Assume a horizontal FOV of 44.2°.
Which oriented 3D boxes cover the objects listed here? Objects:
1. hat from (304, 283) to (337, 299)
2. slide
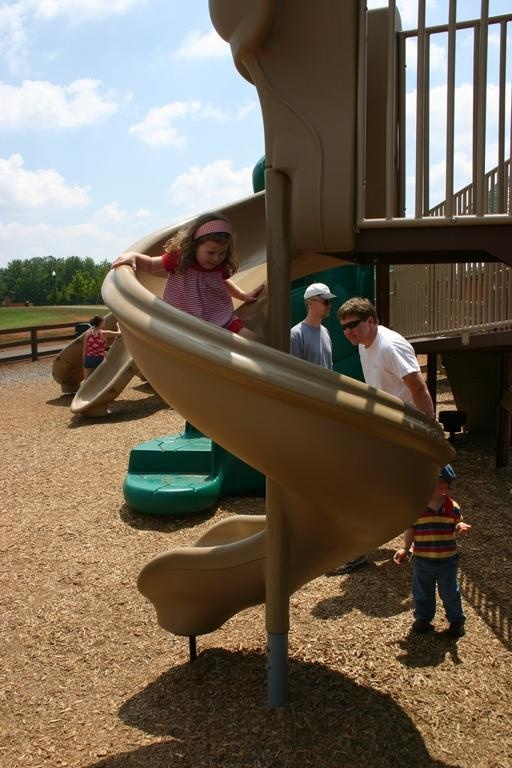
[{"bbox_3d":[0.383,-0.546,3.756,0.181,0.094,0.125,-6,11,8],"label":"hat"},{"bbox_3d":[-0.003,0.189,2.469,1.085,2.091,1.312,-5,6,-14],"label":"slide"}]
